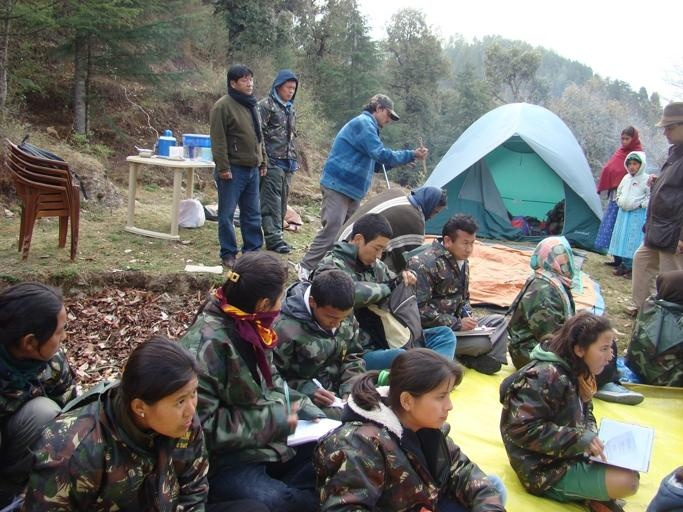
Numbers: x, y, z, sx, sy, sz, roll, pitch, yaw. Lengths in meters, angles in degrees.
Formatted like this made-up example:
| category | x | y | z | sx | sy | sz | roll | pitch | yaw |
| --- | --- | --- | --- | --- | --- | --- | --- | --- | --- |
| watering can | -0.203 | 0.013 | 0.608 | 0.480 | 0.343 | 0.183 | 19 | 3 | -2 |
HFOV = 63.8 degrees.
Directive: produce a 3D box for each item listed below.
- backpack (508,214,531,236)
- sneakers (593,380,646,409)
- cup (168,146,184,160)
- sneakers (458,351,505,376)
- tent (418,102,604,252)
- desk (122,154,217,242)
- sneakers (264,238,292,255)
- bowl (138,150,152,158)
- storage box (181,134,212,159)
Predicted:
| category | x | y | z | sx | sy | sz | roll | pitch | yaw |
| --- | --- | --- | --- | --- | --- | --- | --- | --- | --- |
| backpack | 3.220 | -0.556 | 9.921 | 0.321 | 0.151 | 0.331 | -27 | 61 | -14 |
| sneakers | 2.219 | 1.105 | 4.430 | 0.402 | 0.185 | 0.152 | 2 | 6 | 25 |
| cup | -1.886 | -1.188 | 6.310 | 0.153 | 0.157 | 0.159 | -1 | 13 | 0 |
| sneakers | 1.206 | 0.897 | 4.717 | 0.324 | 0.125 | 0.198 | 14 | 26 | 20 |
| tent | 3.514 | -1.214 | 10.537 | 2.840 | 2.093 | 2.873 | 4 | 12 | 25 |
| desk | -2.202 | -0.712 | 6.894 | 0.731 | 0.879 | 1.186 | 8 | 13 | 10 |
| sneakers | -0.735 | -0.083 | 6.340 | 0.323 | 0.158 | 0.122 | 0 | 11 | -8 |
| bowl | -2.257 | -1.167 | 6.246 | 0.119 | 0.063 | 0.122 | 2 | 6 | 0 |
| storage box | -1.685 | -1.265 | 6.377 | 0.336 | 0.341 | 0.238 | -2 | 5 | -36 |
